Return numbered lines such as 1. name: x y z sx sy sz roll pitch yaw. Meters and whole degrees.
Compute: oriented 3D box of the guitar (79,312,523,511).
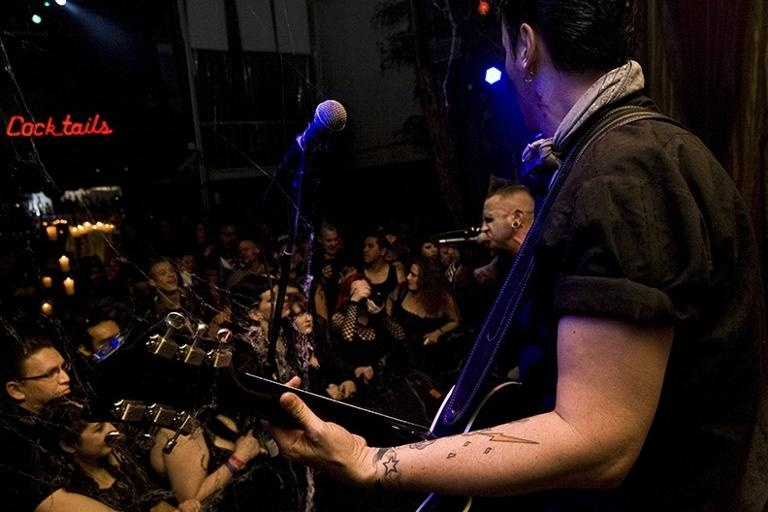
1. guitar: -0.125 0.552 2.215 1.614 0.587 0.266 19 -4 -23
